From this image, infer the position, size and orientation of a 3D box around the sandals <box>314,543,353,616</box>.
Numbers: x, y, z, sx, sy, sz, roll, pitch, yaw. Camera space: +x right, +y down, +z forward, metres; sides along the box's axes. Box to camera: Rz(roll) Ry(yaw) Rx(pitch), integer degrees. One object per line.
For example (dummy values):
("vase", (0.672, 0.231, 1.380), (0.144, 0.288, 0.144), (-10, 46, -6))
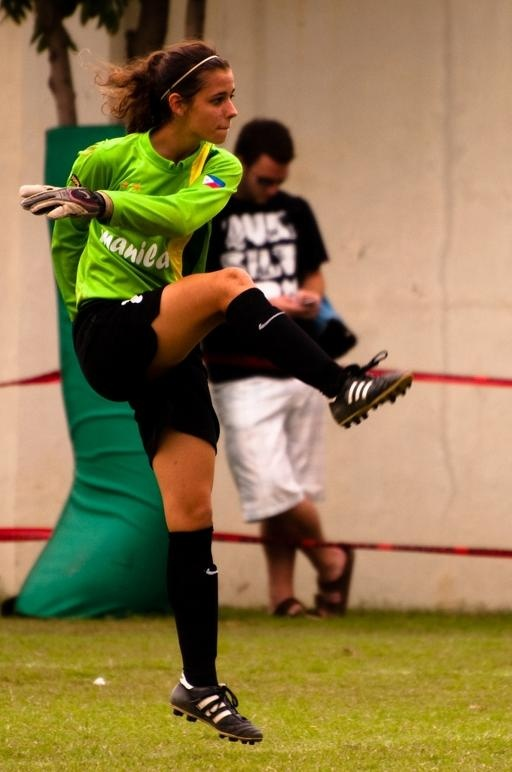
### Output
("sandals", (0.302, 0.728, 3.163), (0.093, 0.241, 0.109), (9, 7, 14))

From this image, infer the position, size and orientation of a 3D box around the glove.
("glove", (-0.382, -0.373, 1.680), (0.159, 0.053, 0.090), (-2, 10, -31))

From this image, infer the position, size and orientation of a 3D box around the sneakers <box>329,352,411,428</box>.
("sneakers", (0.233, 0.003, 1.750), (0.158, 0.160, 0.217), (0, -2, 0))

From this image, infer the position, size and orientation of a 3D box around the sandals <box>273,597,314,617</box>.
("sandals", (0.136, 0.854, 3.232), (0.178, 0.058, 0.060), (-5, -9, 28))

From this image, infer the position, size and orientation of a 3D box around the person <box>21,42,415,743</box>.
("person", (-0.121, 0.004, 1.877), (0.774, 1.553, 0.609), (1, -3, -12))
